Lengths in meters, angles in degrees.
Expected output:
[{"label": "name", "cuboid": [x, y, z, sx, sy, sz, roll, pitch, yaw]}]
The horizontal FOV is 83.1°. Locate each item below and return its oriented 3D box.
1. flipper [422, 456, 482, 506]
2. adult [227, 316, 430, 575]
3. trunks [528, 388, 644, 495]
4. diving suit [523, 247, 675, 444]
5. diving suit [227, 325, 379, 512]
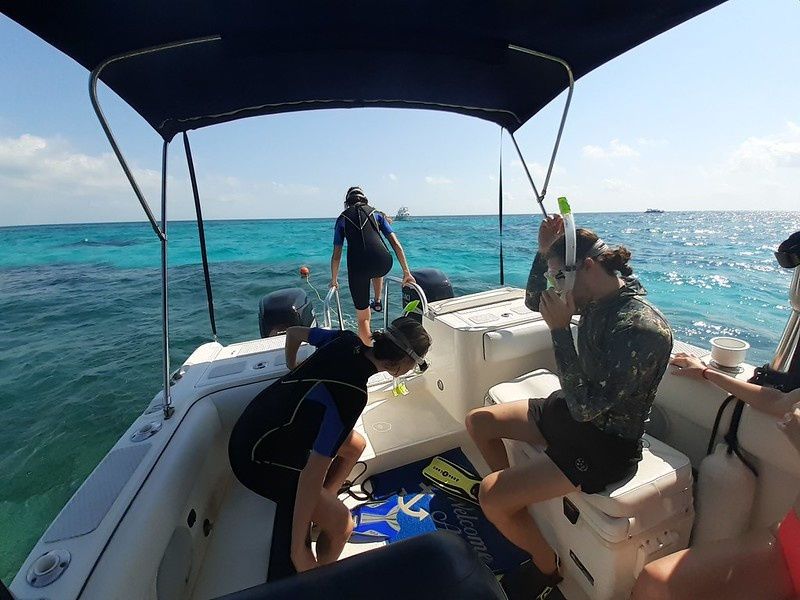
[{"label": "flipper", "cuboid": [0.405, 1.363, 3.434, 0.194, 0.089, 0.417, -24, 33, -39]}, {"label": "adult", "cuboid": [-0.592, 1.009, 3.028, 0.984, 1.872, 1.117, 19, 17, 26]}, {"label": "trunks", "cuboid": [1.069, 0.872, 2.734, 0.418, 0.222, 0.554, -11, 25, -14]}, {"label": "diving suit", "cuboid": [1.177, 0.221, 3.154, 0.852, 1.306, 0.821, 3, 10, 12]}, {"label": "diving suit", "cuboid": [-0.625, 0.806, 2.894, 0.618, 0.974, 0.805, 32, 13, -28]}]
